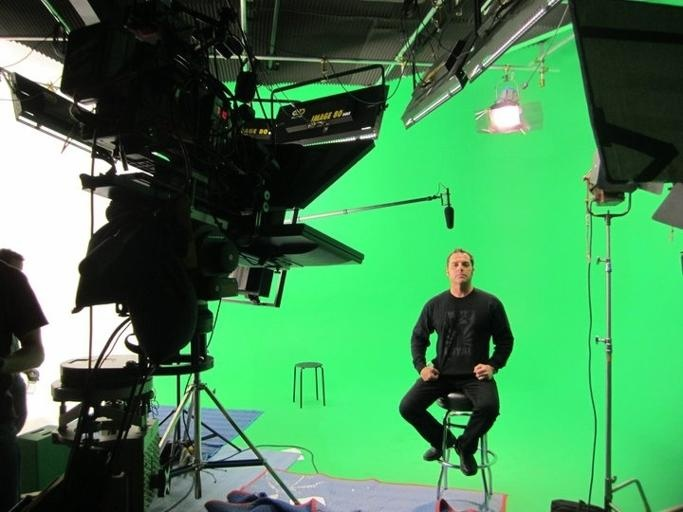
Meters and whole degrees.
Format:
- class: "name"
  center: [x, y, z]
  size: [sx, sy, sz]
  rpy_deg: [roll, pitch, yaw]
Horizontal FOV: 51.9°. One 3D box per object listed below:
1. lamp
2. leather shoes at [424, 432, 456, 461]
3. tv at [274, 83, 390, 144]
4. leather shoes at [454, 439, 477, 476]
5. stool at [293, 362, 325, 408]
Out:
- class: "lamp"
  center: [1.606, -1.618, 6.781]
  size: [0.387, 0.402, 0.400]
  rpy_deg: [-17, 23, -41]
- class: "leather shoes"
  center: [0.837, 1.494, 5.498]
  size: [0.351, 0.251, 0.137]
  rpy_deg: [-3, -11, 13]
- class: "tv"
  center: [-0.118, -1.300, 6.400]
  size: [1.128, 0.485, 0.322]
  rpy_deg: [2, 8, 25]
- class: "leather shoes"
  center: [0.942, 1.506, 5.305]
  size: [0.109, 0.128, 0.298]
  rpy_deg: [-2, 6, -8]
- class: "stool"
  center: [-0.346, 1.425, 7.966]
  size: [0.444, 0.539, 0.443]
  rpy_deg: [0, -10, -6]
